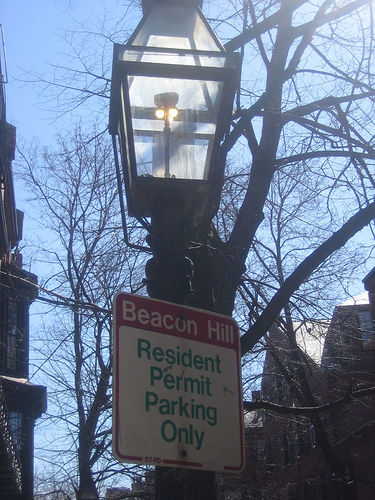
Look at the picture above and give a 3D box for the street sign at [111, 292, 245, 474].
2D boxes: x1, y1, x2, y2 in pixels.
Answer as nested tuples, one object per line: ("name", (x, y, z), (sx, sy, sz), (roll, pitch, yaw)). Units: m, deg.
("street sign", (-0.025, 0.588, 3.289), (0.771, 0.811, 0.160), (7, -18, -41))
